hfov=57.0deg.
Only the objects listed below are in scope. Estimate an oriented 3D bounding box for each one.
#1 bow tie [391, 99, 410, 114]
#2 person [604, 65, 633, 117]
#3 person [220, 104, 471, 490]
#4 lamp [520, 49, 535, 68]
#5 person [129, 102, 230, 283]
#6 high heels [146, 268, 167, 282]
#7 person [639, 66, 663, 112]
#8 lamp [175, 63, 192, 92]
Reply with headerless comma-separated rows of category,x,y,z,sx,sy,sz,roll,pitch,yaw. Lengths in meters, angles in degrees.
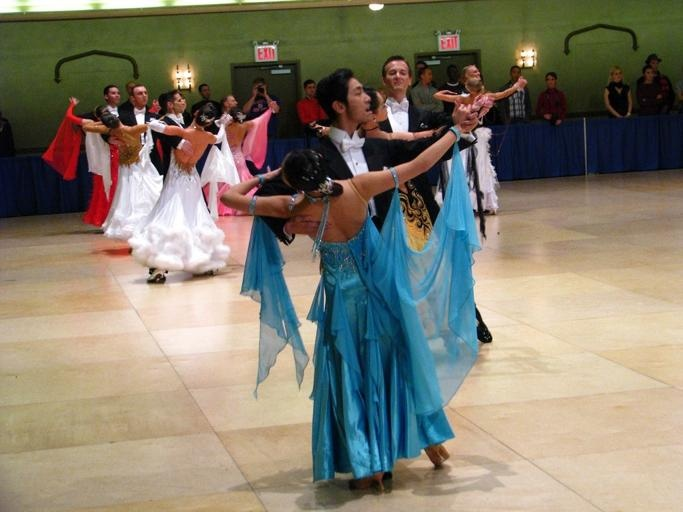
bow tie,0.377,-0.987,4.186,0.133,0.093,0.096,0,0,-7
person,6.585,-3.912,14.936,0.571,1.167,0.835,5,15,35
person,0.169,0.185,2.956,1.098,1.683,0.529,-7,13,-16
lamp,5.050,-5.294,16.864,0.458,0.540,0.110,-5,12,-8
person,-1.850,-0.688,7.052,1.023,1.903,0.518,-8,13,-19
high heels,-2.084,0.213,7.107,0.141,0.175,0.226,4,-2,-8
person,7.301,-3.913,14.876,0.586,1.107,0.523,-13,16,-38
lamp,-4.012,-4.560,16.077,0.475,0.665,0.130,-7,13,-18
